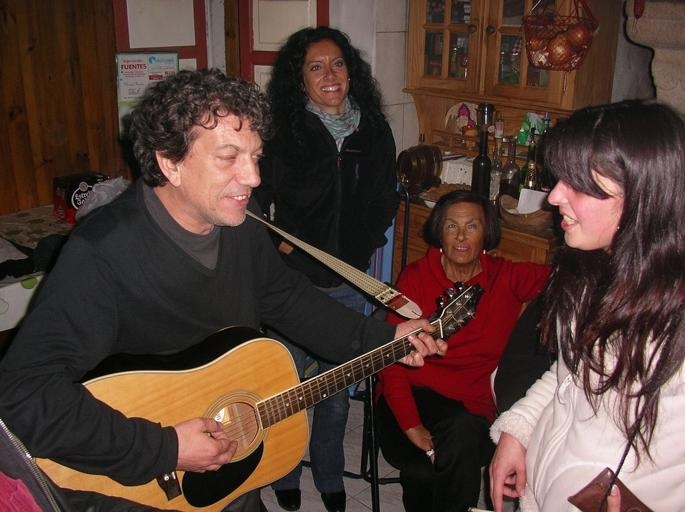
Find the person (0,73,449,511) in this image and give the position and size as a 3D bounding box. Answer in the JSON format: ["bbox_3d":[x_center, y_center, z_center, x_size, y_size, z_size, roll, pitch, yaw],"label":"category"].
[{"bbox_3d":[-0.452,0.070,1.788,1.128,1.248,0.317,-11,15,-33],"label":"person"}]

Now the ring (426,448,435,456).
[{"bbox_3d":[0.341,0.769,2.265,0.027,0.020,0.013,-3,-6,38],"label":"ring"}]

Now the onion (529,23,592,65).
[{"bbox_3d":[1.058,-1.033,2.827,0.199,0.140,0.208,1,23,-4],"label":"onion"}]
